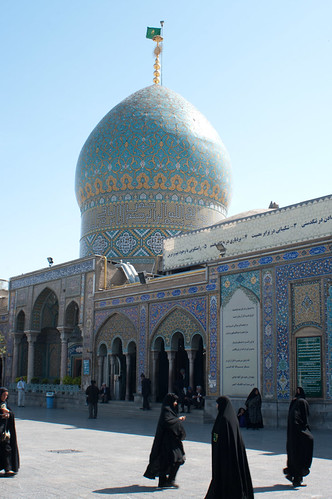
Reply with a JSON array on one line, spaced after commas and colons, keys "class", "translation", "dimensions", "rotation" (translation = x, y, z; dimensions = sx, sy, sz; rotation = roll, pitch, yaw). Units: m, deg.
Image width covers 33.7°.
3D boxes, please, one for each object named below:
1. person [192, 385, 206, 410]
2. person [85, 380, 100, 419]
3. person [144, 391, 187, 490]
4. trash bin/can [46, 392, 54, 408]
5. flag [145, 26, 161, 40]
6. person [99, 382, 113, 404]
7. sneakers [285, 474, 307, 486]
[{"class": "person", "translation": [0.809, 3.638, 13.570], "dimensions": [0.300, 0.545, 0.918], "rotation": [-1, -10, 3]}, {"class": "person", "translation": [-1.761, 3.578, 13.173], "dimensions": [0.343, 0.881, 0.266], "rotation": [1, -19, -10]}, {"class": "person", "translation": [-0.004, 1.592, 4.599], "dimensions": [0.325, 0.723, 0.425], "rotation": [-1, -10, 2]}, {"class": "trash bin/can", "translation": [-3.790, 4.928, 17.986], "dimensions": [0.264, 0.460, 0.366], "rotation": [2, -10, -12]}, {"class": "flag", "translation": [-0.583, -10.246, 26.092], "dimensions": [0.589, 0.398, 0.566], "rotation": [2, -10, -12]}, {"class": "person", "translation": [-1.789, 4.294, 16.379], "dimensions": [0.343, 0.540, 1.106], "rotation": [1, -10, -6]}, {"class": "sneakers", "translation": [1.106, 1.956, 4.650], "dimensions": [0.072, 0.100, 0.232], "rotation": [18, -33, -19]}]
